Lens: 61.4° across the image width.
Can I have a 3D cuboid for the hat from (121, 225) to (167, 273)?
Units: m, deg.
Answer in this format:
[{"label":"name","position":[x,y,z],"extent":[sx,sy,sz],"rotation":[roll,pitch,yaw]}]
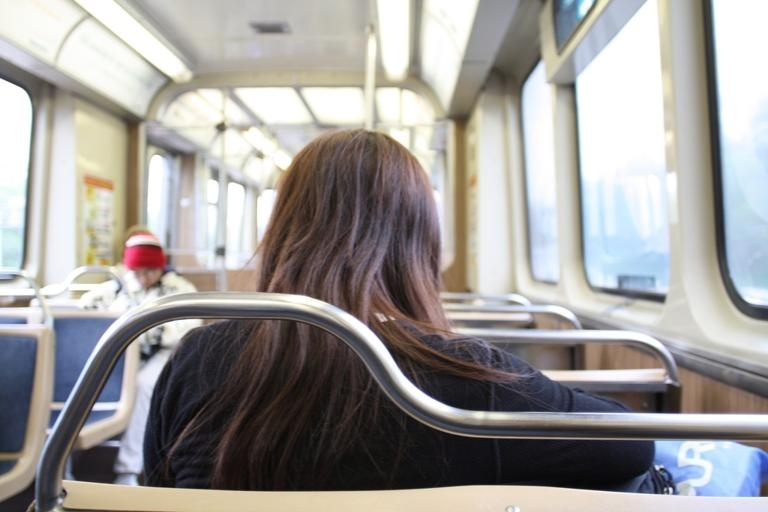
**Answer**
[{"label":"hat","position":[-1.781,-0.037,4.834],"extent":[0.333,0.292,0.252],"rotation":[12,16,40]}]
